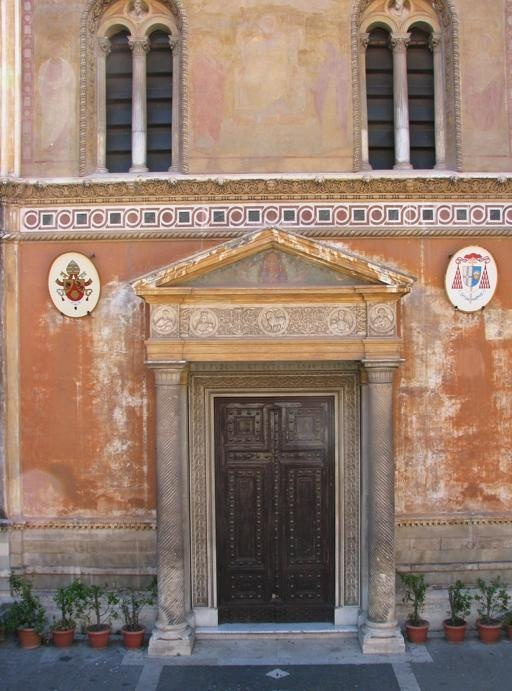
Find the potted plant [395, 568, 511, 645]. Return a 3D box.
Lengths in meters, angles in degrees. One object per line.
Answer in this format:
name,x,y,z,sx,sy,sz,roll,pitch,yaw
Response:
potted plant,2.195,2.882,16.488,1.228,0.769,0.501,0,-5,-7
